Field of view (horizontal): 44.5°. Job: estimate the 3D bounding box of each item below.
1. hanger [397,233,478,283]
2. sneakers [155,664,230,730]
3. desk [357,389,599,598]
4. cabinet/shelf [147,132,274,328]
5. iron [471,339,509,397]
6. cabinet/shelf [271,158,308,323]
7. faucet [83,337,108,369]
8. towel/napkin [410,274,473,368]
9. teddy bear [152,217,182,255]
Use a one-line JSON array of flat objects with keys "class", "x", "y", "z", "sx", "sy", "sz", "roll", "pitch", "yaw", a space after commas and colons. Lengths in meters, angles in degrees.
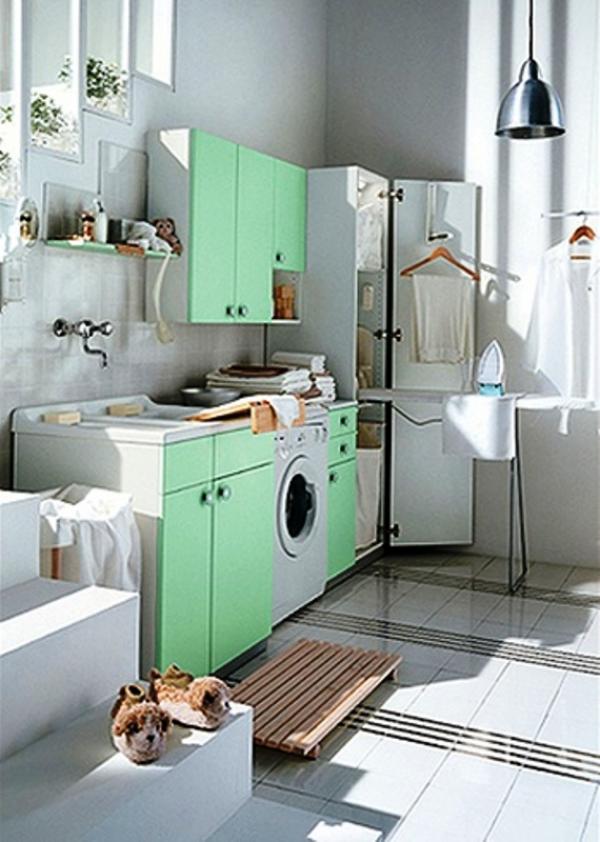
[{"class": "hanger", "x": 0.831, "y": -0.913, "z": 4.167, "sx": 0.510, "sy": 0.204, "sz": 0.169, "roll": 1, "pitch": 3, "yaw": -18}, {"class": "sneakers", "x": -0.201, "y": 0.493, "z": 1.345, "sx": 0.152, "sy": 0.063, "sz": 0.092, "roll": 3, "pitch": 5, "yaw": 39}, {"class": "desk", "x": 0.938, "y": 0.351, "z": 4.016, "sx": 1.196, "sy": 1.033, "sz": 1.072, "roll": 4, "pitch": 4, "yaw": 21}, {"class": "cabinet/shelf", "x": -0.339, "y": -0.818, "z": 3.187, "sx": 0.257, "sy": 0.805, "sz": 0.657, "roll": 5, "pitch": 4, "yaw": 35}, {"class": "iron", "x": 0.929, "y": -0.257, "z": 3.570, "sx": 0.118, "sy": 0.260, "sz": 0.159, "roll": 3, "pitch": 3, "yaw": 12}, {"class": "cabinet/shelf", "x": -0.056, "y": -0.912, "z": 3.704, "sx": 0.169, "sy": 0.766, "sz": 0.468, "roll": 2, "pitch": 3, "yaw": 0}, {"class": "faucet", "x": -0.782, "y": -0.260, "z": 2.797, "sx": 0.085, "sy": 0.103, "sz": 0.185, "roll": 2, "pitch": 4, "yaw": -12}, {"class": "towel/napkin", "x": 0.808, "y": -0.593, "z": 4.164, "sx": 0.372, "sy": 0.518, "sz": 0.157, "roll": 2, "pitch": 3, "yaw": -1}, {"class": "teddy bear", "x": -0.521, "y": -0.736, "z": 2.891, "sx": 0.115, "sy": 0.155, "sz": 0.091, "roll": 1, "pitch": 3, "yaw": -23}]
